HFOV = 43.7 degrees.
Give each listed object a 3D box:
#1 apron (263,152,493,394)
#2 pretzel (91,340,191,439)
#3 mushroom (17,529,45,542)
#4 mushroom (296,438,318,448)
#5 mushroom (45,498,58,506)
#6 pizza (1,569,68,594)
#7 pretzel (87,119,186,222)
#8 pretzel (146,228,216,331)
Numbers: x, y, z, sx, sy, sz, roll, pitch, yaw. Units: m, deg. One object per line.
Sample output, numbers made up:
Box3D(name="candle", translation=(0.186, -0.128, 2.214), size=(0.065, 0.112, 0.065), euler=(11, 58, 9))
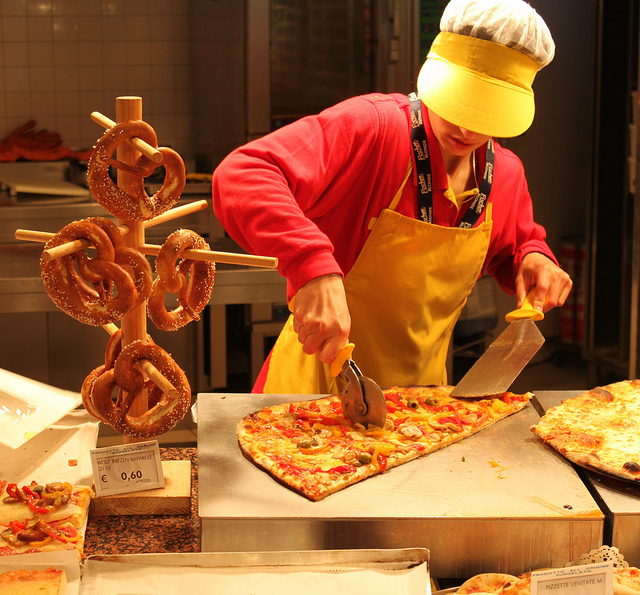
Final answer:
Box3D(name="apron", translation=(0.259, -0.098, 2.162), size=(0.517, 0.692, 0.375), euler=(-14, 48, -19))
Box3D(name="pretzel", translation=(-0.332, 0.156, 1.440), size=(0.053, 0.170, 0.184), euler=(-6, -33, 46))
Box3D(name="mushroom", translation=(-0.507, 0.419, 1.403), size=(0.044, 0.012, 0.024), euler=(1, 14, -13))
Box3D(name="mushroom", translation=(-0.024, 0.312, 1.694), size=(0.051, 0.012, 0.021), euler=(-7, 17, -37))
Box3D(name="mushroom", translation=(-0.497, 0.378, 1.478), size=(0.020, 0.012, 0.005), euler=(-2, 16, -22))
Box3D(name="pizza", translation=(-0.455, 0.452, 1.262), size=(0.102, 0.020, 0.061), euler=(1, 14, -11))
Box3D(name="pretzel", translation=(-0.318, -0.207, 1.376), size=(0.167, 0.181, 0.055), euler=(-19, 26, -21))
Box3D(name="pretzel", translation=(-0.249, -0.027, 1.429), size=(0.114, 0.197, 0.110), euler=(-5, 17, -28))
